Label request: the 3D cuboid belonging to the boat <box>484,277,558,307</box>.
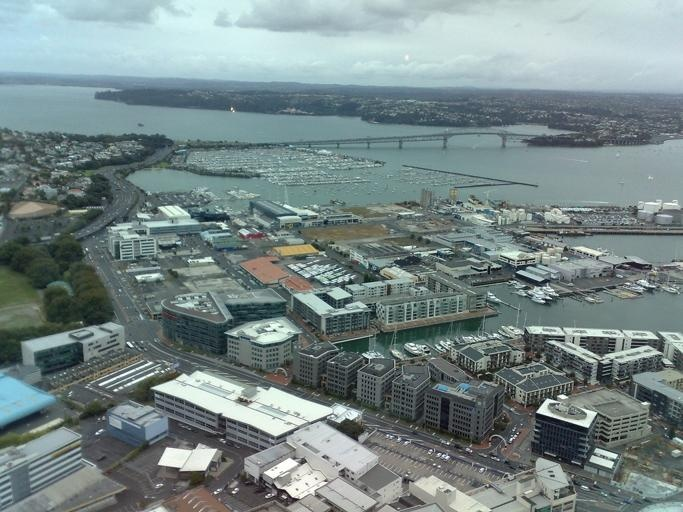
[{"bbox_3d":[5.987,1.137,17.505,1.097,0.354,1.315,-15,25,-29],"label":"boat"}]
